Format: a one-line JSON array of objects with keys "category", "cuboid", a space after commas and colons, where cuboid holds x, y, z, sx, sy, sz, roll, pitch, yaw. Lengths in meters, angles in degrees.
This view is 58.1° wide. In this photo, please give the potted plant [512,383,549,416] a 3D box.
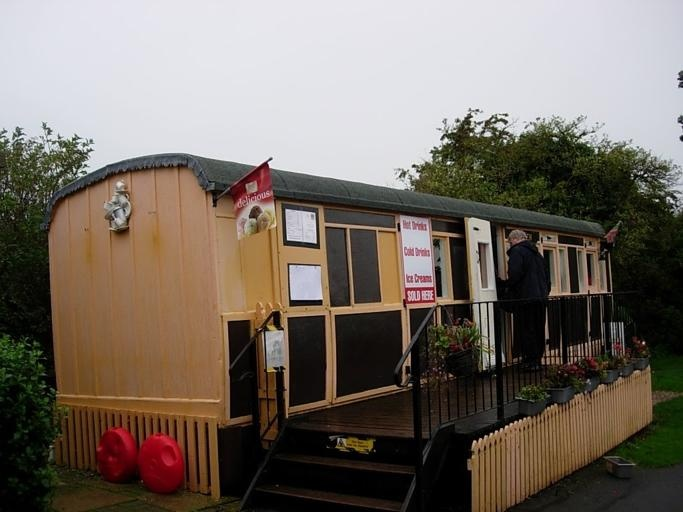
[{"category": "potted plant", "cuboid": [2.450, 1.851, 7.871, 0.292, 0.379, 0.529, -2, -2, 32]}]

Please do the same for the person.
[{"category": "person", "cuboid": [2.775, 0.593, 9.272, 0.747, 1.505, 2.436, 11, 7, 15]}]

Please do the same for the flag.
[{"category": "flag", "cuboid": [-1.107, -0.652, 7.492, 0.867, 0.927, 0.121, -23, -19, 40]}]

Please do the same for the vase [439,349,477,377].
[{"category": "vase", "cuboid": [1.613, 1.405, 8.127, 0.395, 0.296, 0.366, 8, -17, -31]}]

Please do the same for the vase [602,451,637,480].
[{"category": "vase", "cuboid": [3.833, 2.887, 8.422, 0.393, 0.272, 0.519, 13, 8, 25]}]

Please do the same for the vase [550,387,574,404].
[{"category": "vase", "cuboid": [3.030, 1.882, 8.430, 0.210, 0.142, 0.321, -2, -3, 42]}]
